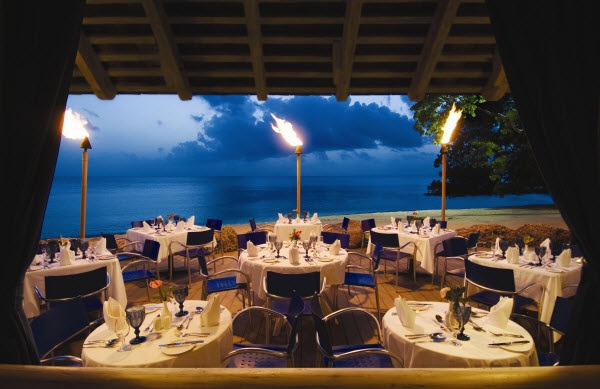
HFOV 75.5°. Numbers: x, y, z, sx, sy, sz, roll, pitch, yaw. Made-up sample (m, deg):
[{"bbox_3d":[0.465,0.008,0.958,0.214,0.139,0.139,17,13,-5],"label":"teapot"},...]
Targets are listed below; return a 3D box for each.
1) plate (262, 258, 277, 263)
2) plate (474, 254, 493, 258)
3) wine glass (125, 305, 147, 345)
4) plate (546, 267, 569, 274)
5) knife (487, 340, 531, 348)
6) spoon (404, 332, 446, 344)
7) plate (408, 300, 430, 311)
[{"bbox_3d":[-0.480,1.081,6.343,0.239,0.067,0.217,-3,-2,-4],"label":"plate"},{"bbox_3d":[3.204,1.062,6.751,0.287,0.078,0.234,-3,-2,11],"label":"plate"},{"bbox_3d":[-1.971,1.568,4.675,0.213,0.408,0.293,-3,-1,-24],"label":"wine glass"},{"bbox_3d":[3.971,1.170,5.985,0.282,0.098,0.221,-4,-2,27],"label":"plate"},{"bbox_3d":[2.481,1.778,4.590,0.401,0.057,0.022,-2,-45,2],"label":"knife"},{"bbox_3d":[1.510,1.742,4.679,0.497,0.062,0.169,-2,16,-1],"label":"spoon"},{"bbox_3d":[1.613,1.486,5.166,0.279,0.115,0.224,-4,-1,17],"label":"plate"}]
